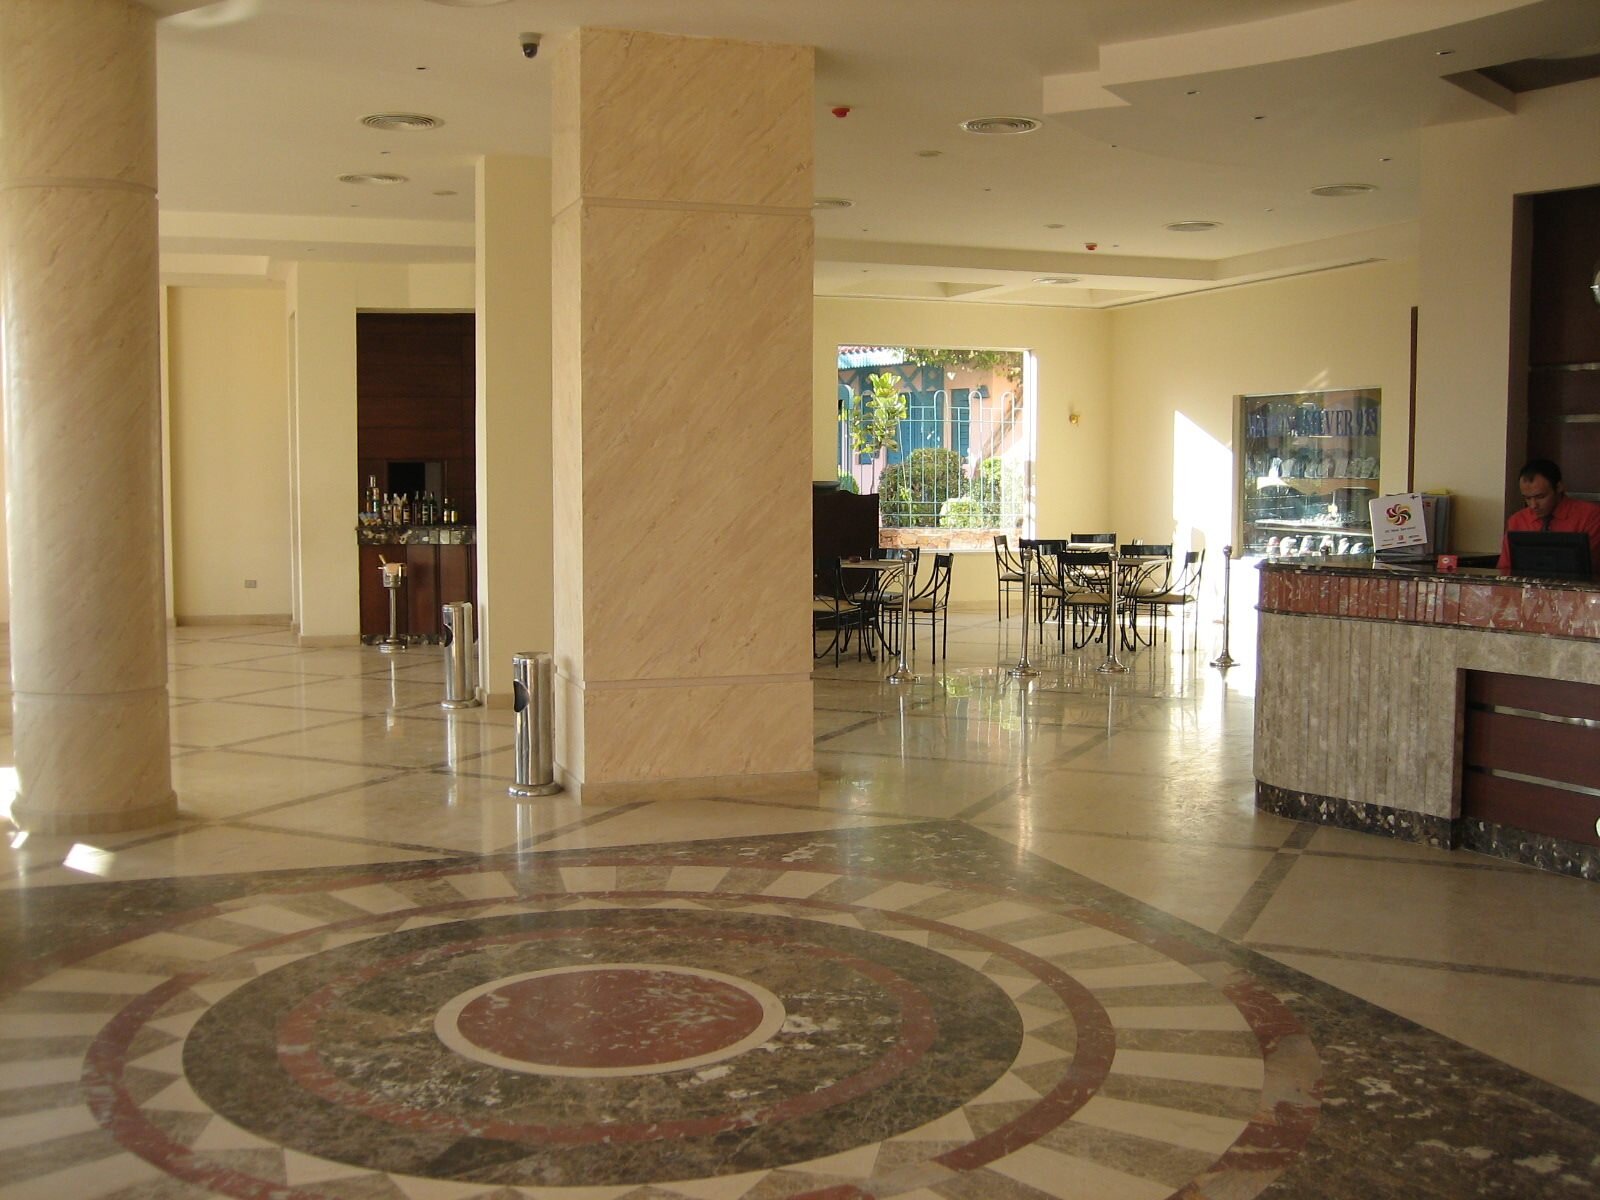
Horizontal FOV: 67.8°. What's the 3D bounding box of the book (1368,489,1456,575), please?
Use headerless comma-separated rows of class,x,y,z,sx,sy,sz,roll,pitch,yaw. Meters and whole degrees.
book,3.756,-0.402,7.221,0.639,0.482,0.219,-6,7,-34

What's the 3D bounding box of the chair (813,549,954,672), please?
chair,0.898,0.086,12.466,1.459,0.824,1.399,3,8,23

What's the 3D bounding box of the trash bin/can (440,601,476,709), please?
trash bin/can,-2.804,0.429,9.763,0.264,0.807,0.385,-2,5,-16

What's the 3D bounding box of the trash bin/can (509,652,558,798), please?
trash bin/can,-1.529,0.693,6.814,0.236,0.787,0.213,-2,5,-15

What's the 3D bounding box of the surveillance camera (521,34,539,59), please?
surveillance camera,-1.515,-3.083,6.715,0.107,0.077,0.101,-1,4,-24
